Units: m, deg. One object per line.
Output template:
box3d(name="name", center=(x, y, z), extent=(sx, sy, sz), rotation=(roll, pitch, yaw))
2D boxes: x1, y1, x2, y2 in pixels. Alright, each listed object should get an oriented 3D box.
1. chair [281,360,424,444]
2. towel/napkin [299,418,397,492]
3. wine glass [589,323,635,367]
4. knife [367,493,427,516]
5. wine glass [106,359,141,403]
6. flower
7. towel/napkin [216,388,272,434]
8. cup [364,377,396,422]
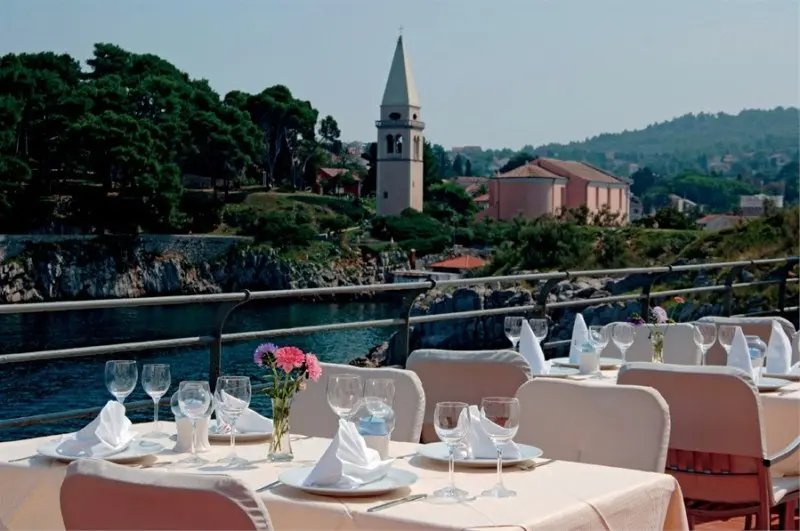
box3d(name="chair", center=(-0.226, 0.773, 5.274), extent=(0.434, 0.734, 0.513), rotation=(1, -7, 28))
box3d(name="towel/napkin", center=(-0.232, 0.890, 4.343), extent=(0.385, 0.354, 0.243), rotation=(-10, -2, -28))
box3d(name="wine glass", center=(1.381, 0.516, 6.207), extent=(0.203, 0.264, 0.116), rotation=(0, -5, -5))
box3d(name="knife", center=(-0.019, 1.055, 4.197), extent=(0.034, 0.040, 0.308), rotation=(20, 17, 41))
box3d(name="wine glass", center=(-1.439, 0.605, 4.916), extent=(0.143, 0.231, 0.391), rotation=(0, -2, -19))
box3d(name="flower", center=(-0.585, 0.679, 4.642), extent=(0.251, 0.541, 0.366), rotation=(14, -19, -24))
box3d(name="towel/napkin", center=(-0.819, 0.765, 4.836), extent=(0.259, 0.302, 0.191), rotation=(-11, -18, 42))
box3d(name="cup", center=(-0.100, 0.647, 4.610), extent=(0.135, 0.208, 0.156), rotation=(0, 4, 1))
